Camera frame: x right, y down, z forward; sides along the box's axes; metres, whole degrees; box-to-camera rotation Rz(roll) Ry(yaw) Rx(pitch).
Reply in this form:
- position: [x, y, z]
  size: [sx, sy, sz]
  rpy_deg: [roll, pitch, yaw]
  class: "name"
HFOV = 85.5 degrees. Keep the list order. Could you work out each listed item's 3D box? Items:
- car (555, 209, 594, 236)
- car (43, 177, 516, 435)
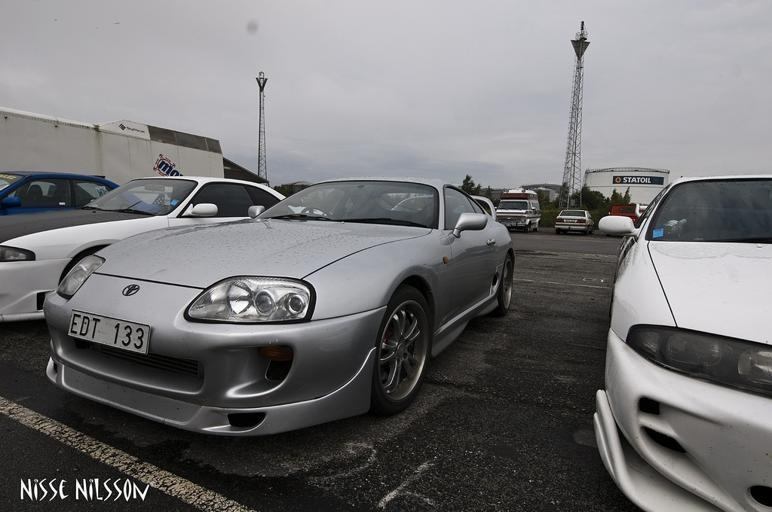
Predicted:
- position: [10.788, -1.875, 23.869]
  size: [1.653, 1.431, 2.232]
  rpy_deg: [13, 18, 36]
  class: "car"
- position: [-0.599, 0.236, 3.076]
  size: [3.031, 1.466, 1.633]
  rpy_deg: [-11, 19, -41]
  class: "car"
